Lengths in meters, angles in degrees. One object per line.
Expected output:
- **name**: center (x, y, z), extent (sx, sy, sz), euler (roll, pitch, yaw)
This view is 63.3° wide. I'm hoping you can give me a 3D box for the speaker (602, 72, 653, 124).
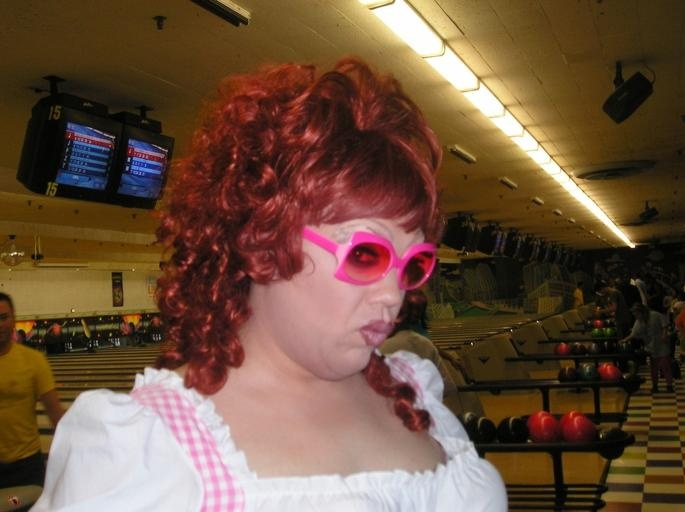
- **speaker**: center (2.620, -1.408, 5.024), extent (0.362, 0.351, 0.358), euler (6, -8, -41)
